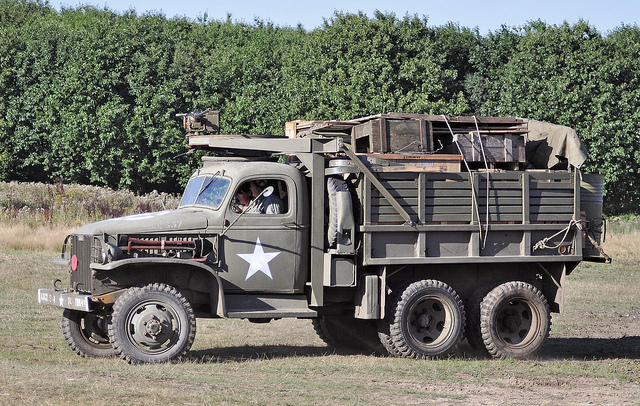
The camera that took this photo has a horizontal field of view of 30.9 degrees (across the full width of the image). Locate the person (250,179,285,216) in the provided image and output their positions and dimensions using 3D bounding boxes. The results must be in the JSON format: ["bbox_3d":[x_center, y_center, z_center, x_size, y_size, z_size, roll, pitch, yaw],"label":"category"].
[{"bbox_3d":[-1.741,-0.059,35.869,0.705,1.248,1.268,-3,4,-38],"label":"person"}]

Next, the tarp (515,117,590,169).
[{"bbox_3d":[7.407,-1.806,37.042,1.549,0.727,2.109,-8,25,5],"label":"tarp"}]

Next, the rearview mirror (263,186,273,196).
[{"bbox_3d":[-1.597,-0.342,35.379,0.283,0.299,0.195,1,14,-3],"label":"rearview mirror"}]
